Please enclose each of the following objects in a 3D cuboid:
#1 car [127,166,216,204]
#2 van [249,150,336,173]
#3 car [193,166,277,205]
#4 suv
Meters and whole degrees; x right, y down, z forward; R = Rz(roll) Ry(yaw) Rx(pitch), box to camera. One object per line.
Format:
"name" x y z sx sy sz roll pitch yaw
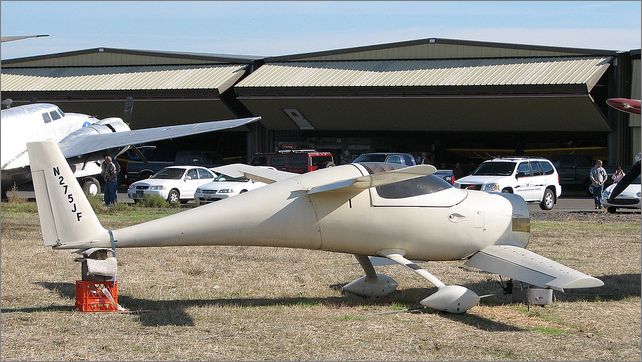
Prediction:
"car" -6.961 0.166 48.115 2.203 1.567 5.532 0 0 28
"van" -1.505 -1.036 53.570 3.281 1.326 1.668 1 1 5
"car" -4.022 0.212 48.084 2.082 1.048 3.891 0 0 43
"suv" 8.826 0.144 46.818 4.644 1.672 2.623 4 -3 -28
